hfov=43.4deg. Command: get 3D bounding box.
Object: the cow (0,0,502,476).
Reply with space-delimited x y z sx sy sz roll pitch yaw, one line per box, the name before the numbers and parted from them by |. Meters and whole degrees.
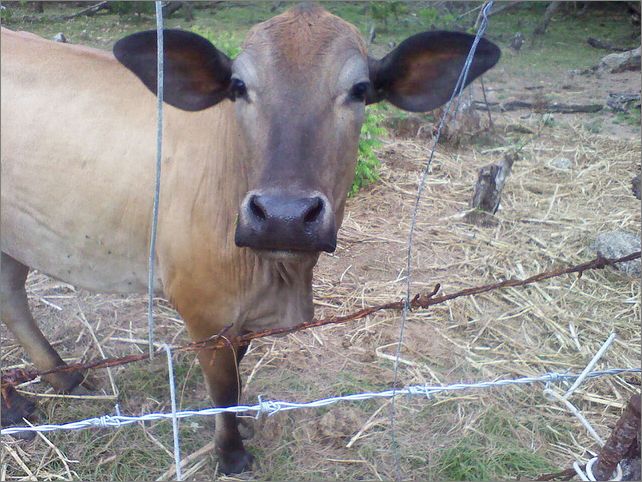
cow | -1.326 -0.204 7.205 3.711 3.747 2.307 14 36 11
